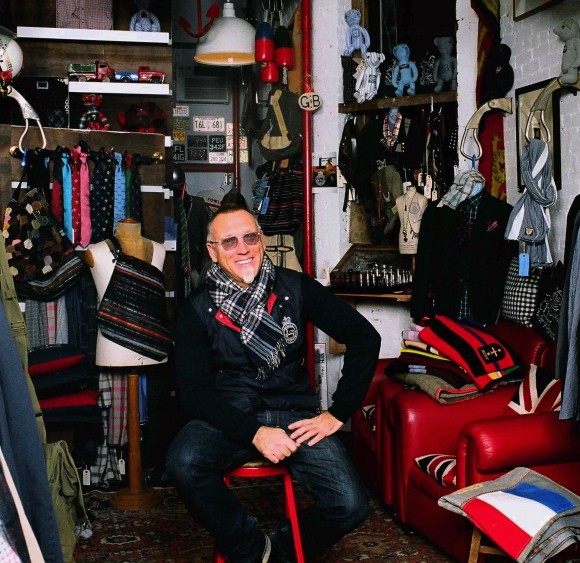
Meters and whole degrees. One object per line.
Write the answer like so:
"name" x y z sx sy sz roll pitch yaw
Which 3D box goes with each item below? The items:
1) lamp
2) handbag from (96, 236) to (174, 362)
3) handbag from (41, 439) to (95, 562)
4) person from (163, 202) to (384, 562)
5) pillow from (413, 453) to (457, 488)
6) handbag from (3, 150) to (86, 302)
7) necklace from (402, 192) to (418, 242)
"lamp" -0.391 -1.456 3.959 0.340 0.428 0.366 0 8 -1
"handbag" -0.800 0.098 3.297 0.413 0.653 0.305 1 -7 -37
"handbag" -0.851 0.830 2.462 0.118 0.464 0.360 -2 9 -16
"person" -0.051 0.368 2.381 0.743 1.251 0.558 -1 9 -4
"pillow" 0.572 0.720 2.483 0.120 0.042 0.113 -10 21 -24
"handbag" -1.285 -0.245 3.430 0.450 0.827 0.192 -7 -1 -3
"necklace" 0.693 -0.353 3.705 0.047 0.219 0.143 -2 7 -4
